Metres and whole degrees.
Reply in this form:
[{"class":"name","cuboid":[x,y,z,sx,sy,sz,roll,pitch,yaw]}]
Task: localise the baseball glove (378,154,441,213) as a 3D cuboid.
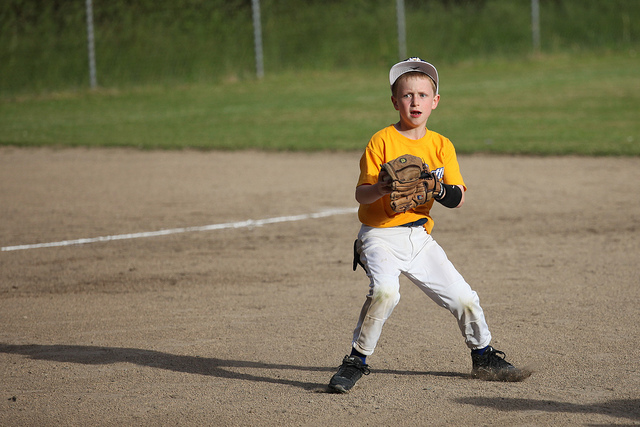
[{"class":"baseball glove","cuboid":[0.808,-0.277,10.891,0.504,0.502,0.238,-30,3,-10]}]
